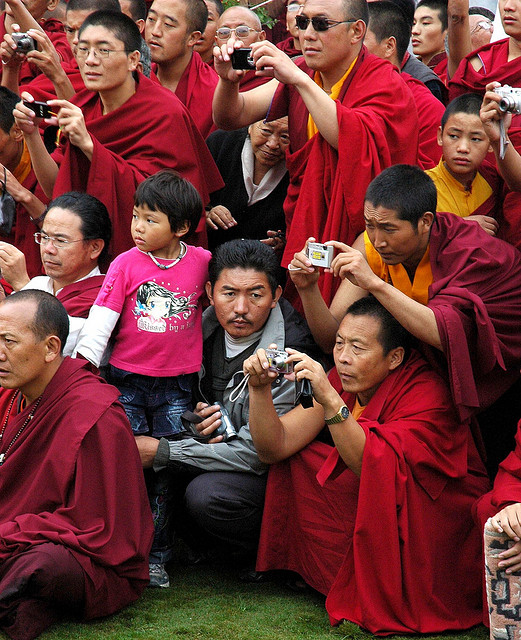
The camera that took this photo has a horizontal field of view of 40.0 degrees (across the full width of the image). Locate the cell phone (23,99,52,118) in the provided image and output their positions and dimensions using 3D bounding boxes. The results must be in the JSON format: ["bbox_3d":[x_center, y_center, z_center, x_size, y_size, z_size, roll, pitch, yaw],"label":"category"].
[{"bbox_3d":[-1.067,-1.006,3.425,0.135,0.065,0.191,7,-7,-16],"label":"cell phone"}]

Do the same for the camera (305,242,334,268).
[{"bbox_3d":[0.236,-0.266,2.902,0.103,0.088,0.053,11,11,19],"label":"camera"}]

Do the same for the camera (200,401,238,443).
[{"bbox_3d":[-0.175,0.439,3.048,0.117,0.046,0.144,-21,56,-43],"label":"camera"}]

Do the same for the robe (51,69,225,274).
[{"bbox_3d":[-0.705,-0.898,3.717,0.764,1.122,0.701,-24,43,-38],"label":"robe"}]

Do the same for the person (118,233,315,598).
[{"bbox_3d":[-0.242,0.423,3.176,0.782,1.503,0.919,13,22,26],"label":"person"}]

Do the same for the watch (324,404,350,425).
[{"bbox_3d":[0.271,0.324,2.517,0.069,0.036,0.071,-31,5,27],"label":"watch"}]

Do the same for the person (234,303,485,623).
[{"bbox_3d":[0.395,0.494,2.683,0.874,1.137,0.710,3,-7,17],"label":"person"}]

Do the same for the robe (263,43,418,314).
[{"bbox_3d":[0.312,-0.643,3.570,0.749,1.398,0.750,1,11,-21],"label":"robe"}]

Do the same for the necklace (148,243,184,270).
[{"bbox_3d":[-0.394,-0.275,3.032,0.059,0.135,0.173,0,-8,40],"label":"necklace"}]
